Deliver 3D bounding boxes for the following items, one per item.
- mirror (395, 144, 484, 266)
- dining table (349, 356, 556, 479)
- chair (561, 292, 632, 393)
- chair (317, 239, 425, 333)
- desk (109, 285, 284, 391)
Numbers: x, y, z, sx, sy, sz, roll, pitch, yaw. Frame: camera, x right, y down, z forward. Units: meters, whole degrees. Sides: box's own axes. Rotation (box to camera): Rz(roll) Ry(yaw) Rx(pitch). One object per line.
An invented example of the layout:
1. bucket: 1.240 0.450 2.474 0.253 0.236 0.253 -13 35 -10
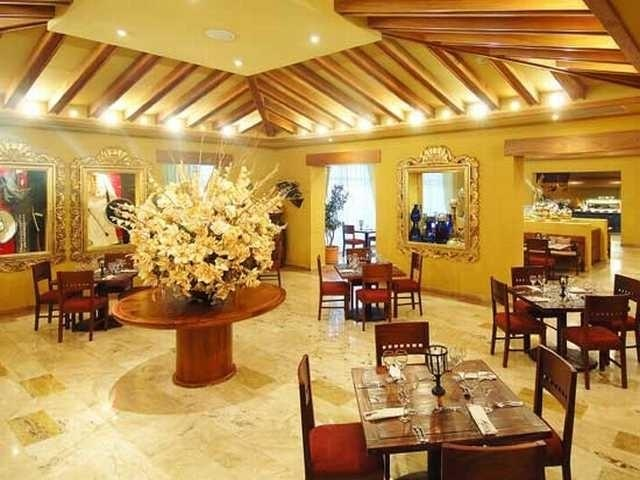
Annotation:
1. mirror: 2.325 -0.664 8.861 2.404 2.707 0.276 5 10 43
2. dining table: 0.875 1.260 3.516 1.137 0.774 1.039 -3 5 -13
3. chair: 3.247 1.074 5.237 0.677 1.054 0.849 9 16 40
4. chair: 0.900 0.708 7.338 1.443 0.751 1.393 -2 5 -3
5. desk: -1.228 1.016 4.880 1.482 0.668 1.452 0 3 -35
